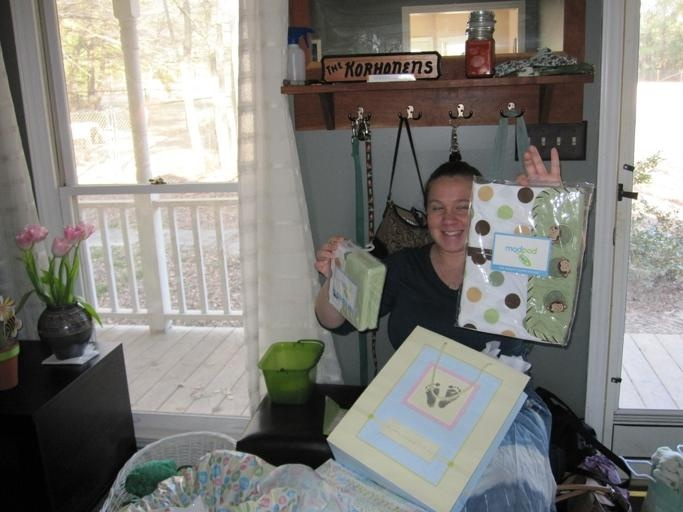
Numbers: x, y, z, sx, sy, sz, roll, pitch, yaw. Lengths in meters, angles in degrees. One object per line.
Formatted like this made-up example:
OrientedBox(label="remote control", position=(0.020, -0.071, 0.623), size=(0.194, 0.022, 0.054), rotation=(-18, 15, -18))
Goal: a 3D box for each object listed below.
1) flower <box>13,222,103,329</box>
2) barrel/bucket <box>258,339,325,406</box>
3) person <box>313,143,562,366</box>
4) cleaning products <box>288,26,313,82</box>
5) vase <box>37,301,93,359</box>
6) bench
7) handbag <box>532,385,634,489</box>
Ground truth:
OrientedBox(label="flower", position=(-1.224, 0.099, 2.280), size=(0.401, 0.427, 0.324), rotation=(2, 11, -18))
OrientedBox(label="barrel/bucket", position=(-0.199, 0.479, 2.179), size=(0.234, 0.149, 0.303), rotation=(0, 10, 9))
OrientedBox(label="person", position=(0.299, 0.031, 1.886), size=(0.779, 0.796, 0.258), rotation=(3, -1, 32))
OrientedBox(label="cleaning products", position=(-0.170, -0.803, 2.152), size=(0.102, 0.226, 0.173), rotation=(-2, 16, 7))
OrientedBox(label="vase", position=(-1.126, 0.296, 2.205), size=(0.223, 0.238, 0.221), rotation=(-1, -3, -2))
OrientedBox(label="bench", position=(-0.237, 0.721, 2.113), size=(0.517, 0.503, 0.152), rotation=(10, 48, -28))
OrientedBox(label="handbag", position=(0.955, 0.732, 2.123), size=(0.306, 0.270, 0.393), rotation=(-1, 16, 10))
